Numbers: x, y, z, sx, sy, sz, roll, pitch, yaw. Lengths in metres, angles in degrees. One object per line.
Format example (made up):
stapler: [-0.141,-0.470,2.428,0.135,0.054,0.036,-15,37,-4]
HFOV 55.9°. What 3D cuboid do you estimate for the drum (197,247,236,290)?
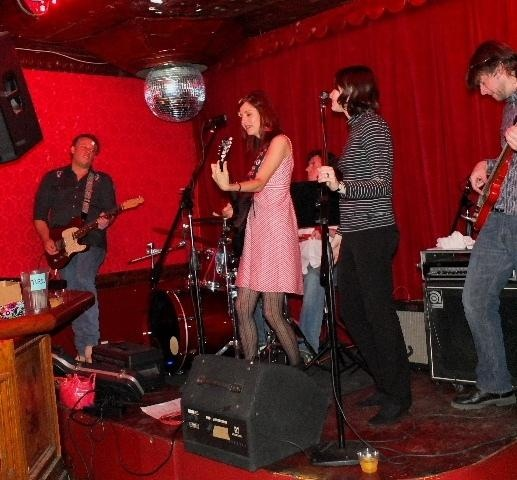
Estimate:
drum: [-0.235,0.186,3.405,0.277,0.283,0.252,7,-10,-20]

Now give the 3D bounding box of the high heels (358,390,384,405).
high heels: [0.578,0.805,2.484,0.147,0.061,0.050,-5,0,5]

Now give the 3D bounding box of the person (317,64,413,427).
person: [0.521,0.023,2.238,0.387,1.646,0.703,0,1,11]

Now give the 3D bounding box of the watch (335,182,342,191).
watch: [0.313,-0.207,1.883,0.010,0.043,0.024,17,-20,-40]

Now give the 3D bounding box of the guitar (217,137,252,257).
guitar: [-0.204,-0.284,3.231,0.099,0.731,0.315,8,-6,-16]

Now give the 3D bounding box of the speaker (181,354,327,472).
speaker: [-0.020,0.592,1.947,0.443,0.337,0.430,0,-3,-45]

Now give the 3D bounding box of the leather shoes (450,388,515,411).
leather shoes: [1.080,0.760,2.372,0.292,0.132,0.110,1,-4,3]

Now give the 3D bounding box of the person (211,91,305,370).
person: [0.014,-0.054,2.554,0.431,1.481,0.592,0,1,5]

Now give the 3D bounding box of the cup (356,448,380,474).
cup: [0.380,0.760,1.672,0.066,0.074,0.076,-3,-14,-6]

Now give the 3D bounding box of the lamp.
lamp: [-0.794,-1.375,4.655,0.573,0.494,0.578,-6,8,7]

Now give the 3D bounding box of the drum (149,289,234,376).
drum: [-0.568,0.638,3.554,0.628,0.666,0.567,-1,-9,-40]

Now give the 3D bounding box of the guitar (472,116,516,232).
guitar: [1.069,-0.237,2.243,0.096,0.403,0.199,0,1,-22]

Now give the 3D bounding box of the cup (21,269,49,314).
cup: [-0.786,0.181,1.725,0.078,0.142,0.139,0,1,0]
